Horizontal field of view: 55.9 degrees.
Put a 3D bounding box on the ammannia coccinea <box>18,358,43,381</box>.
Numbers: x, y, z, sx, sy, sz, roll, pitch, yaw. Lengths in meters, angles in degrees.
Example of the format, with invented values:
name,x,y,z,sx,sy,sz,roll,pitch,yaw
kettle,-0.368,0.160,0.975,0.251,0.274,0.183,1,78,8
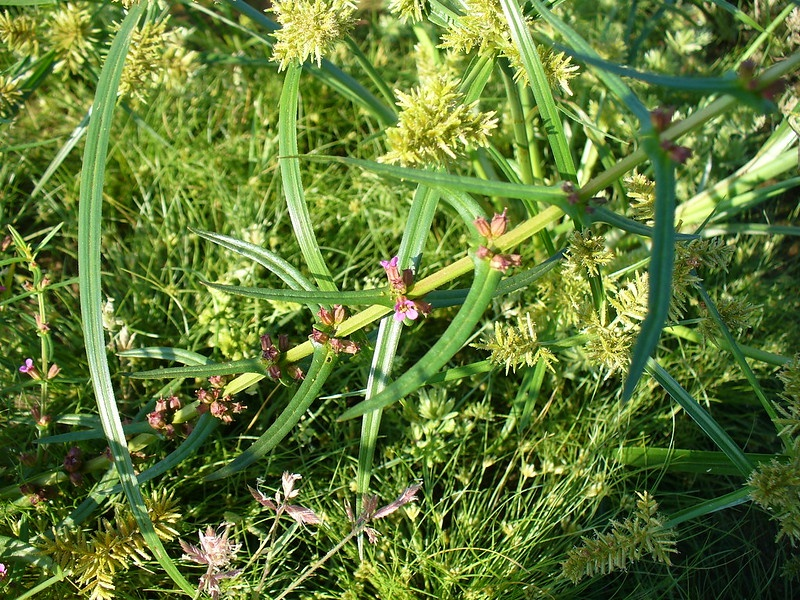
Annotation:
name,x,y,z,sx,sy,sz,roll,pitch,yaw
ammannia coccinea,-0.989,0.185,2.028,0.047,0.089,0.052,-15,85,-8

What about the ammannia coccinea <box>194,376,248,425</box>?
name,x,y,z,sx,sy,sz,roll,pitch,yaw
ammannia coccinea,-0.451,0.247,1.899,0.113,0.046,0.120,26,78,-9

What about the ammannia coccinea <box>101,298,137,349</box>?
name,x,y,z,sx,sy,sz,roll,pitch,yaw
ammannia coccinea,-0.801,0.069,2.152,0.071,0.113,0.078,10,61,3

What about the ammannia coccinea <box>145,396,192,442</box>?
name,x,y,z,sx,sy,sz,roll,pitch,yaw
ammannia coccinea,-0.579,0.292,1.911,0.094,0.068,0.110,-33,92,-13

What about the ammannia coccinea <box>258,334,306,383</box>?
name,x,y,z,sx,sy,sz,roll,pitch,yaw
ammannia coccinea,-0.279,0.139,1.826,0.038,0.114,0.107,-20,38,-24

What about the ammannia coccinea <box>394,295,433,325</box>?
name,x,y,z,sx,sy,sz,roll,pitch,yaw
ammannia coccinea,0.026,0.025,1.719,0.065,0.069,0.032,0,9,15

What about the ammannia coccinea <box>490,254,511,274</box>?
name,x,y,z,sx,sy,sz,roll,pitch,yaw
ammannia coccinea,0.214,-0.081,1.608,0.035,0.032,0.043,-54,19,-4

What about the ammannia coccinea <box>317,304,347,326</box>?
name,x,y,z,sx,sy,sz,roll,pitch,yaw
ammannia coccinea,-0.158,0.032,1.780,0.050,0.037,0.051,6,46,33

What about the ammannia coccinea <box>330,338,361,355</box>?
name,x,y,z,sx,sy,sz,roll,pitch,yaw
ammannia coccinea,-0.126,0.101,1.748,0.053,0.034,0.033,7,92,26

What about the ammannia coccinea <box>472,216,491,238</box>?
name,x,y,z,sx,sy,sz,roll,pitch,yaw
ammannia coccinea,0.181,-0.167,1.667,0.030,0.041,0.063,-5,42,-4
